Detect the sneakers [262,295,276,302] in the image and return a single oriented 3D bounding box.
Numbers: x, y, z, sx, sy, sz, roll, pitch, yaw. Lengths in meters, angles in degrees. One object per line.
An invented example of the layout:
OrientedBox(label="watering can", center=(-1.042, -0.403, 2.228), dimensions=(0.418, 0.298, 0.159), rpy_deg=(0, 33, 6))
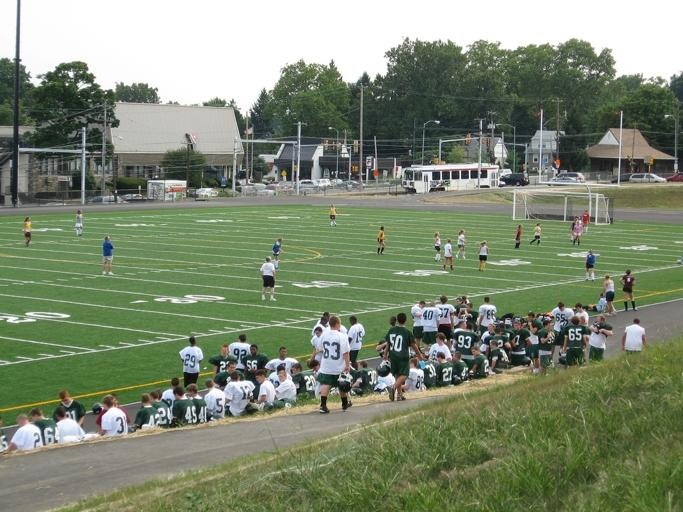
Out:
OrientedBox(label="sneakers", center=(-2.652, 1.507, 38.695), dimensions=(0.573, 0.283, 0.196), rpy_deg=(0, 8, 0))

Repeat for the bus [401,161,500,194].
OrientedBox(label="bus", center=(11.974, -8.568, 116.477), dimensions=(12.216, 3.542, 2.806), rpy_deg=(-12, 9, -38))

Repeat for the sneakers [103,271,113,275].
OrientedBox(label="sneakers", center=(-9.603, 0.683, 43.618), dimensions=(0.474, 0.216, 0.166), rpy_deg=(-2, 6, 5))

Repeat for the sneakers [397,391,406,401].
OrientedBox(label="sneakers", center=(1.473, 3.374, 26.158), dimensions=(0.329, 0.243, 0.109), rpy_deg=(-2, 7, -39))

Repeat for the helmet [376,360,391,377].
OrientedBox(label="helmet", center=(1.079, 2.858, 27.271), dimensions=(0.263, 0.316, 0.373), rpy_deg=(7, 3, -3))

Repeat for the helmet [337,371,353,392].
OrientedBox(label="helmet", center=(0.053, 2.941, 25.169), dimensions=(0.319, 0.227, 0.524), rpy_deg=(-6, -3, -19))

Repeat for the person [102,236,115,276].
OrientedBox(label="person", center=(-9.635, -0.051, 43.816), dimensions=(0.462, 1.481, 1.269), rpy_deg=(-8, 7, -11))

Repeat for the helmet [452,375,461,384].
OrientedBox(label="helmet", center=(3.008, 3.215, 28.025), dimensions=(0.163, 0.226, 0.210), rpy_deg=(-7, -17, 1))

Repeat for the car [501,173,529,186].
OrientedBox(label="car", center=(19.694, -8.714, 122.183), dimensions=(3.143, 1.227, 4.905), rpy_deg=(-6, 7, 8))
